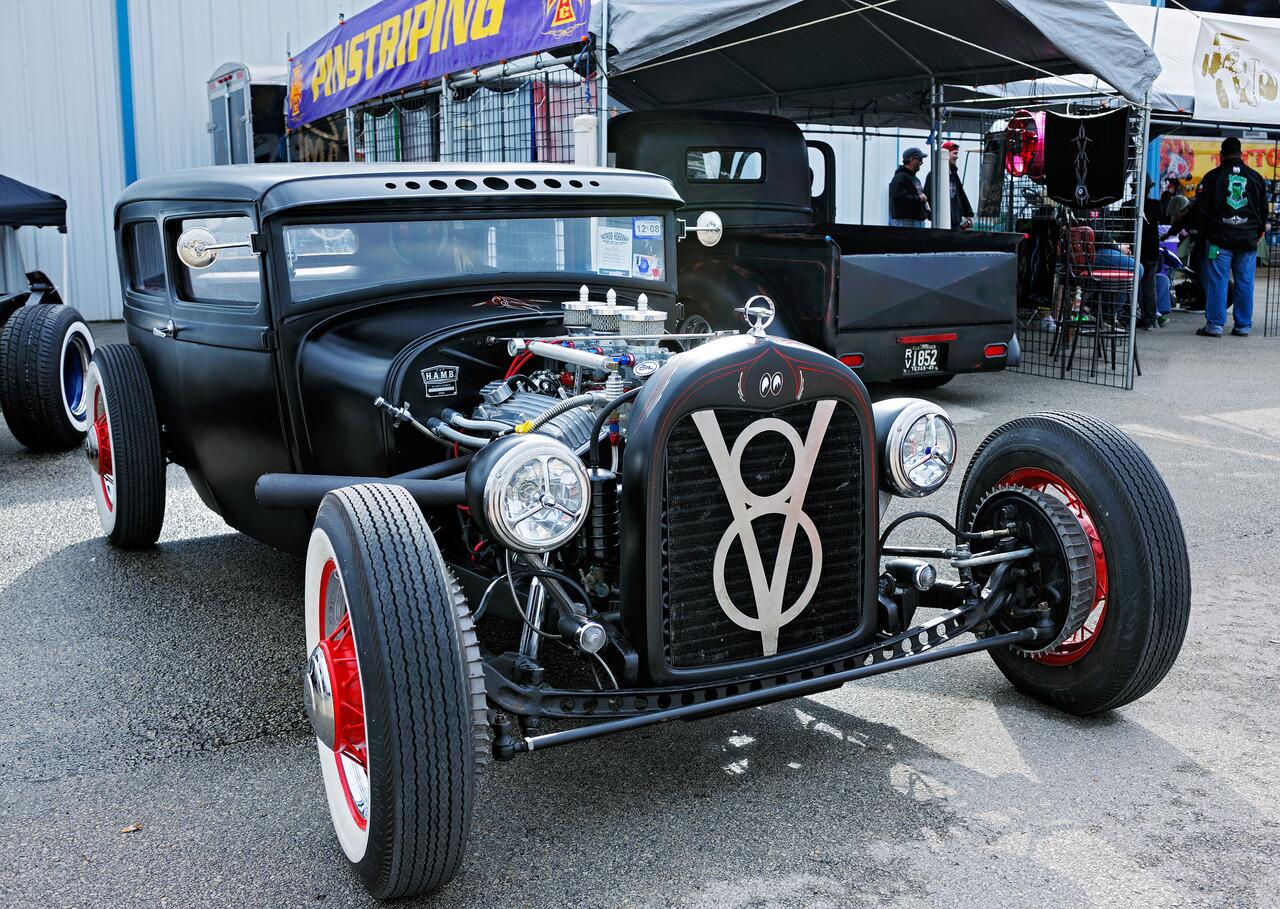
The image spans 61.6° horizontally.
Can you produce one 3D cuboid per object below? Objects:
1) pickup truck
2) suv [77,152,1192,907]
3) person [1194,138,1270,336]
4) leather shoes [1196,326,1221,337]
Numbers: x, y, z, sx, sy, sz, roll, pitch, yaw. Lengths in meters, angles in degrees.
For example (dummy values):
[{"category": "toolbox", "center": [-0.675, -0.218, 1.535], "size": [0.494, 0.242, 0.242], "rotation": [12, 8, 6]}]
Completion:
[{"category": "pickup truck", "center": [1.194, -1.614, 8.956], "size": [1.871, 1.881, 3.448], "rotation": [-13, 26, -34]}, {"category": "suv", "center": [-0.667, -0.026, 4.507], "size": [2.229, 1.821, 3.982], "rotation": [-6, 14, -30]}, {"category": "person", "center": [7.019, -2.580, 12.834], "size": [0.710, 2.322, 0.965], "rotation": [8, 15, 38]}, {"category": "leather shoes", "center": [6.892, -1.475, 13.028], "size": [0.109, 0.133, 0.280], "rotation": [-5, 9, -9]}]
